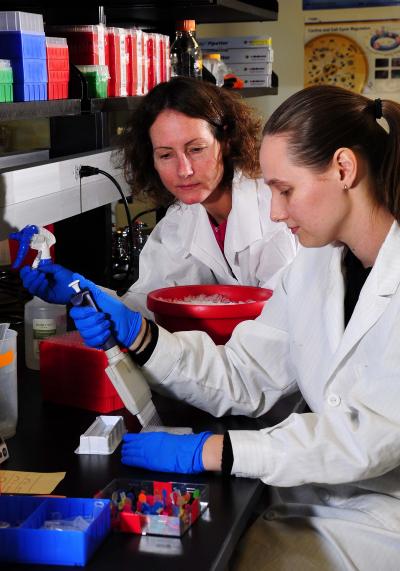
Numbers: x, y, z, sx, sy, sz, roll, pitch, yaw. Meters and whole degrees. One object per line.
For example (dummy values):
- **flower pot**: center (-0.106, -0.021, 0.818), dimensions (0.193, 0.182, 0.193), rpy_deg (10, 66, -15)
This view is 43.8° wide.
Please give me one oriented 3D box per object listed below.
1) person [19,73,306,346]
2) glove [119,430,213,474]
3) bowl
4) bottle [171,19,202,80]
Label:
- **person**: center (-0.040, -0.340, 2.089), dimensions (0.880, 1.088, 0.837), rpy_deg (-13, 19, -40)
- **glove**: center (-0.061, 0.281, 0.847), dimensions (0.120, 0.041, 0.070), rpy_deg (3, 37, 6)
- **bowl**: center (0.035, 0.084, 1.457), dimensions (0.355, 0.119, 0.366), rpy_deg (0, 9, 0)
- **bottle**: center (-0.070, -1.237, 2.602), dimensions (0.170, 0.346, 0.266), rpy_deg (1, 8, -1)
